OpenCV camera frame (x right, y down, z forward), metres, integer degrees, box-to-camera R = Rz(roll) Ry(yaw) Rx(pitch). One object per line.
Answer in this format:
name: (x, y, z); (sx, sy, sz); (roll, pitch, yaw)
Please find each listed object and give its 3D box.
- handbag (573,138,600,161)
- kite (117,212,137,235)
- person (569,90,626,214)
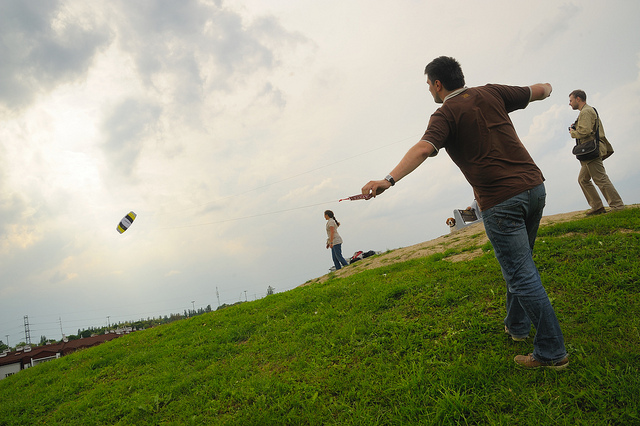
handbag: (6.869, -1.602, 9.140); (0.583, 0.464, 0.475); (-22, -16, 36)
kite: (-6.047, 0.267, 11.172); (0.454, 0.632, 0.427); (-6, -14, -28)
person: (7.113, -1.571, 9.372); (0.899, 2.812, 1.112); (-21, -15, 32)
